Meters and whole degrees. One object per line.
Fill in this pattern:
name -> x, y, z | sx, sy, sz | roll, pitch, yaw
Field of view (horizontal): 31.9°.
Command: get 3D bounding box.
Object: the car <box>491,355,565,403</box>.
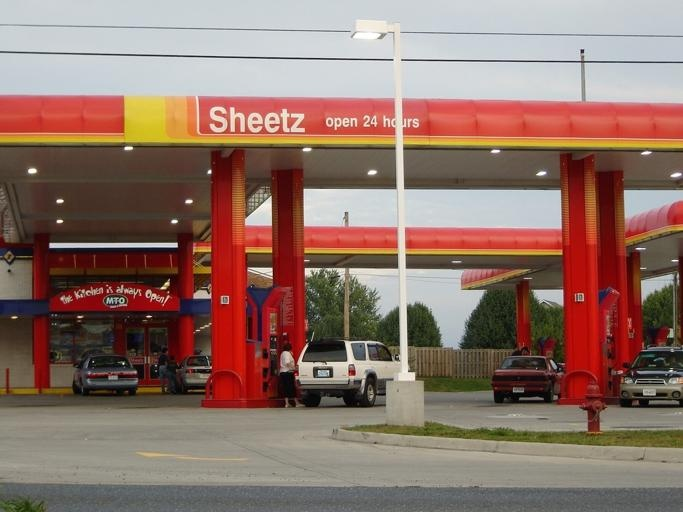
car -> 6.579, 4.297, 42.184 | 2.496, 1.664, 1.742 | -2, -7, 3

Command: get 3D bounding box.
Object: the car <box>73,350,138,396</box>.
car -> -9.558, 4.756, 48.380 | 2.158, 1.752, 3.058 | 1, -8, -20

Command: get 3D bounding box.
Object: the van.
van -> 0.310, 3.718, 39.040 | 1.938, 1.482, 3.273 | -2, -2, 25

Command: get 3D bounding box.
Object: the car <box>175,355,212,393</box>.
car -> -6.104, 4.828, 49.259 | 0.997, 1.532, 2.273 | 1, -8, -25
